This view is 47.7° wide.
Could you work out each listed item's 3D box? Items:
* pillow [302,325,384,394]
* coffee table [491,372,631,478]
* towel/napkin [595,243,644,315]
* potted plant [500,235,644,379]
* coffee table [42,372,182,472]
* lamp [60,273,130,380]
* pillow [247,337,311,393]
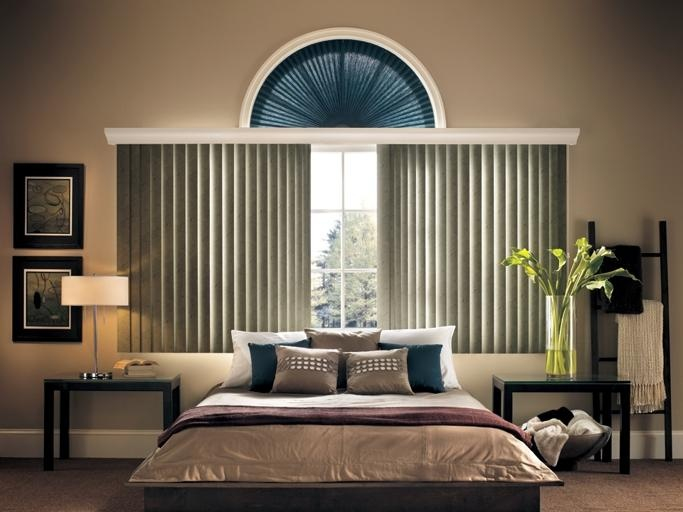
[{"bbox_3d":[0.000,0.871,6.237,0.451,0.435,0.167,2,0,-12],"label":"pillow"},{"bbox_3d":[1.862,1.468,6.489,0.912,0.714,0.873,0,-3,3],"label":"coffee table"},{"bbox_3d":[2.450,0.211,6.658,0.414,0.567,0.141,-1,-1,9],"label":"towel/napkin"},{"bbox_3d":[1.878,0.419,6.572,0.645,0.729,0.704,15,-13,-18],"label":"potted plant"},{"bbox_3d":[-1.966,1.417,6.643,0.955,0.717,0.533,1,-8,-12],"label":"coffee table"},{"bbox_3d":[-2.126,0.608,6.647,0.563,0.885,0.460,-1,-1,-16],"label":"lamp"},{"bbox_3d":[-0.531,0.937,6.381,0.581,0.402,0.200,4,2,-29],"label":"pillow"}]
